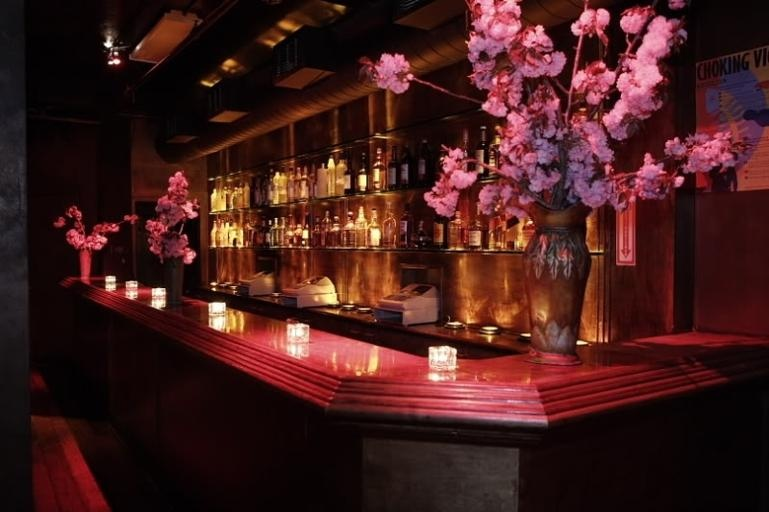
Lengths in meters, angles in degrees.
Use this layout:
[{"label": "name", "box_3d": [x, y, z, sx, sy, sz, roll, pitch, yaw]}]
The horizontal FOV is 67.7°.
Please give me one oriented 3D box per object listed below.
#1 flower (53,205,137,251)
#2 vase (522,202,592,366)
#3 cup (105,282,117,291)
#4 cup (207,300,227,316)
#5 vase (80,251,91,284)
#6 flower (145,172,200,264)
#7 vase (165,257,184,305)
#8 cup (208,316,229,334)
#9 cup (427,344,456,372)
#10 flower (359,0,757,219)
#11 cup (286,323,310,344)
[{"label": "flower", "box_3d": [-3.862, -0.382, 7.625, 1.089, 0.575, 0.505, 5, 9, 20]}, {"label": "vase", "box_3d": [0.753, 0.110, 2.480, 0.284, 0.674, 0.214, -4, 10, 7]}, {"label": "cup", "box_3d": [-2.758, 0.312, 5.753, 0.117, 0.076, 0.116, 1, 0, 0]}, {"label": "cup", "box_3d": [-1.148, 0.345, 3.910, 0.114, 0.128, 0.115, 0, -3, 0]}, {"label": "vase", "box_3d": [-3.474, 0.115, 6.636, 0.133, 0.329, 0.455, -10, 11, -27]}, {"label": "flower", "box_3d": [-1.843, -0.318, 4.961, 0.459, 0.792, 0.811, -9, 10, -19]}, {"label": "vase", "box_3d": [-1.689, 0.196, 4.606, 0.152, 0.322, 0.527, -9, 10, -21]}, {"label": "cup", "box_3d": [-1.014, 0.417, 3.489, 0.089, 0.097, 0.090, 1, 2, 0]}, {"label": "cup", "box_3d": [0.247, 0.432, 2.458, 0.101, 0.101, 0.102, 1, 3, 0]}, {"label": "flower", "box_3d": [0.656, -0.584, 2.647, 1.386, 1.022, 1.266, 1, 4, -6]}, {"label": "cup", "box_3d": [-0.446, 0.395, 2.991, 0.104, 0.103, 0.104, 1, -1, 0]}]
